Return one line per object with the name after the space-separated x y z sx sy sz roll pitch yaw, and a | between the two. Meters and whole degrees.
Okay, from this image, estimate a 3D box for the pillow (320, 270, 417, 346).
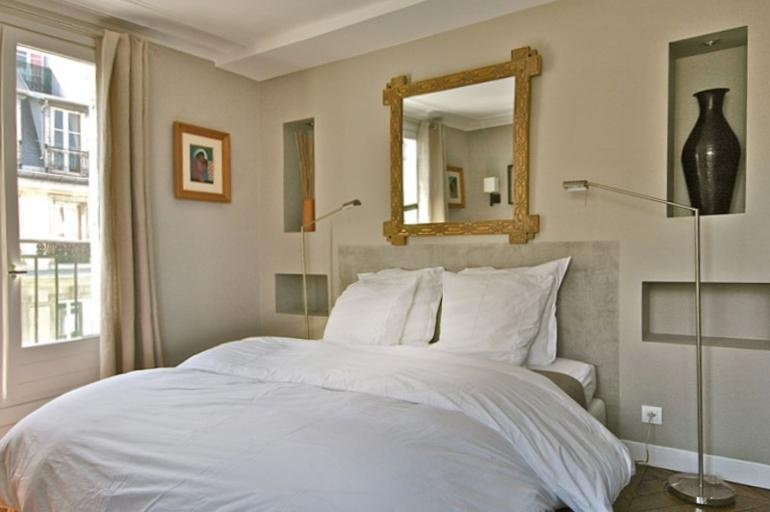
-0.098 0.391 4.423 0.587 0.566 0.171 -3 -31 40 | pillow

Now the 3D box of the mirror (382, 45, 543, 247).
0.573 -0.813 4.700 1.580 1.489 0.072 1 2 41 | mirror

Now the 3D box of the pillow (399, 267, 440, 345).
0.299 0.386 4.451 0.143 0.462 0.491 21 -23 -40 | pillow

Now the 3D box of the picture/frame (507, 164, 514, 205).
0.951 -0.553 4.415 0.058 0.313 0.013 -1 1 18 | picture/frame

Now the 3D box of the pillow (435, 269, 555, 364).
0.778 0.423 4.087 0.721 0.692 0.214 6 -11 32 | pillow
